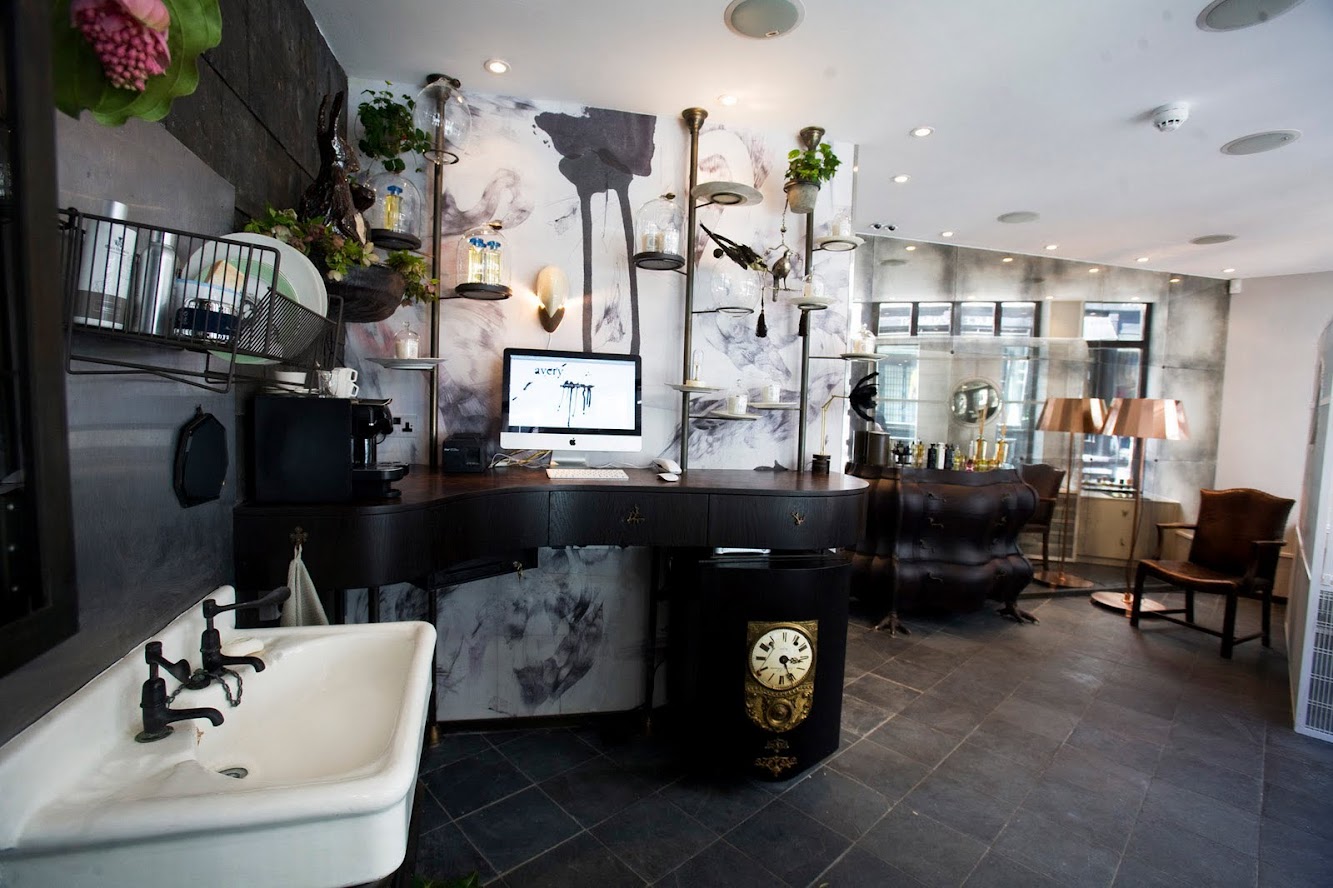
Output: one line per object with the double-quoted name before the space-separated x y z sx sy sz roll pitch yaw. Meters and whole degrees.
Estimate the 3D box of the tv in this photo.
"tv" -0.494 -0.205 4.261 0.599 0.439 0.075 -1 2 -15

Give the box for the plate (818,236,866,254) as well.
"plate" 0.905 -1.074 4.590 0.222 0.079 0.343 4 9 8

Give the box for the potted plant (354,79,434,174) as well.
"potted plant" -1.326 -1.549 4.230 0.342 0.453 0.320 -1 10 -18

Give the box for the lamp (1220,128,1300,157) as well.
"lamp" 3.192 -1.642 4.703 0.321 0.083 0.276 9 11 35

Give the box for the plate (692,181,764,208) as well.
"plate" 0.291 -1.247 4.248 0.309 0.085 0.276 5 10 17

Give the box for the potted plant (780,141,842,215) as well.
"potted plant" 0.704 -1.434 4.491 0.338 0.395 0.284 3 9 -2

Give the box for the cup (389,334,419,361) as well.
"cup" -1.223 -0.465 4.114 0.149 0.164 0.149 2 1 0

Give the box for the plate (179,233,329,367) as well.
"plate" -1.370 -0.494 2.930 0.371 0.472 0.654 0 10 -12

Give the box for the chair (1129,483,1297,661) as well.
"chair" 3.589 0.807 5.718 0.794 1.028 0.779 4 5 -3

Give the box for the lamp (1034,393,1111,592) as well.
"lamp" 3.154 0.394 6.902 0.571 1.489 0.520 3 1 32

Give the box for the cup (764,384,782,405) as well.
"cup" 0.565 -0.293 4.680 0.084 0.084 0.158 4 9 11

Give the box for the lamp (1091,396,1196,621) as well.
"lamp" 3.368 0.245 6.367 0.433 1.218 0.461 3 -15 -11

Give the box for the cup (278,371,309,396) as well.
"cup" -1.536 -0.254 3.570 0.098 0.107 0.114 2 5 0

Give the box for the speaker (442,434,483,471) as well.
"speaker" -0.968 0.040 4.114 0.158 0.141 0.213 0 0 -7

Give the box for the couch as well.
"couch" 1.871 0.649 6.199 1.367 1.104 1.028 0 -2 -8

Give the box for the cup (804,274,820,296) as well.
"cup" 0.739 -0.830 4.478 0.069 0.114 0.248 3 9 8

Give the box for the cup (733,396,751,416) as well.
"cup" 0.381 -0.215 4.486 0.066 0.096 0.227 4 9 8

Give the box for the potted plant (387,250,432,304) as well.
"potted plant" -1.127 -0.739 3.827 0.237 0.193 0.238 2 3 4

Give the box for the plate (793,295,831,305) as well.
"plate" 0.743 -0.747 4.468 0.169 0.054 0.200 3 9 4
